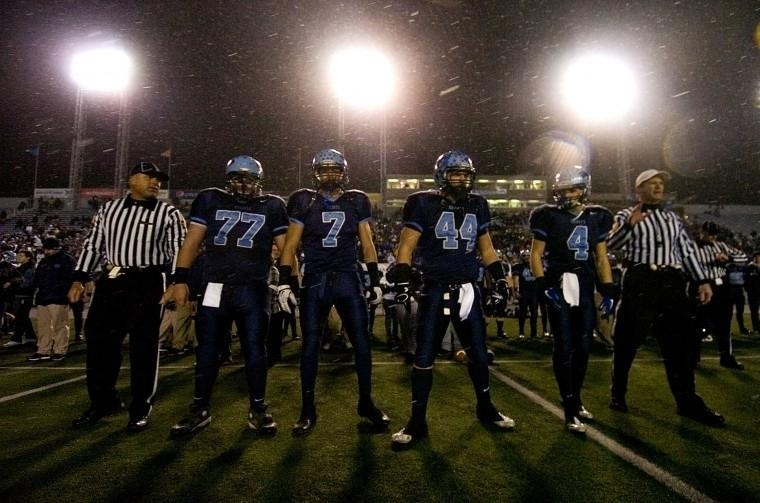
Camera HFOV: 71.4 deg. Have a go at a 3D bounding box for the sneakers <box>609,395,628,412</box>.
[{"bbox_3d":[3.066,1.954,6.817,0.144,0.213,0.233,5,-24,-5],"label":"sneakers"}]

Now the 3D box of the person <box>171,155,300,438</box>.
[{"bbox_3d":[-1.774,0.460,6.273,1.298,3.214,0.698,1,3,-10],"label":"person"}]

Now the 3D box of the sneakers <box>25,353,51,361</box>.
[{"bbox_3d":[-6.163,1.889,9.526,0.358,0.134,0.138,17,-23,-37],"label":"sneakers"}]

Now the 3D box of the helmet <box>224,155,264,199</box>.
[{"bbox_3d":[-1.711,-0.976,6.603,0.468,0.458,0.566,3,19,-10],"label":"helmet"}]

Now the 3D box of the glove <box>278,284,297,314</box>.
[{"bbox_3d":[-1.128,0.557,6.314,0.167,0.232,0.320,21,25,-28],"label":"glove"}]

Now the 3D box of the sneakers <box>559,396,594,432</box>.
[{"bbox_3d":[2.354,1.957,6.372,0.251,0.230,0.580,-2,-21,8],"label":"sneakers"}]

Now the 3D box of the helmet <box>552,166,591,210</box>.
[{"bbox_3d":[2.482,-0.850,6.851,0.455,0.483,0.595,2,23,42],"label":"helmet"}]

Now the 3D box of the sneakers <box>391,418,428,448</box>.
[{"bbox_3d":[0.322,2.025,5.948,0.196,0.206,0.526,-12,-22,37],"label":"sneakers"}]

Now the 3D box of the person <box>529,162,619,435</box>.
[{"bbox_3d":[2.339,0.475,6.623,0.882,3.084,0.824,-1,4,-44],"label":"person"}]

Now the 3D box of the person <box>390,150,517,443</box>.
[{"bbox_3d":[0.834,0.469,6.216,1.363,3.297,0.799,1,3,-4],"label":"person"}]

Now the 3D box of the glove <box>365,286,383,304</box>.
[{"bbox_3d":[-0.064,0.531,6.634,0.204,0.078,0.258,11,3,13],"label":"glove"}]

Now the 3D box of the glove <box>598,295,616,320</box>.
[{"bbox_3d":[2.832,0.680,6.657,0.213,0.309,0.083,1,0,-5],"label":"glove"}]

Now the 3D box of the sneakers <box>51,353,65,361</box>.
[{"bbox_3d":[-5.920,1.902,9.692,0.221,0.089,0.362,-1,4,-30],"label":"sneakers"}]

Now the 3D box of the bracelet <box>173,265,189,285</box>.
[{"bbox_3d":[-2.413,0.293,6.331,0.217,0.172,0.185,-1,-10,7],"label":"bracelet"}]

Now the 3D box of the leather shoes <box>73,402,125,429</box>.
[{"bbox_3d":[-3.432,1.969,6.454,0.186,0.217,0.561,-16,-9,42],"label":"leather shoes"}]

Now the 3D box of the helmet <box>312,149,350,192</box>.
[{"bbox_3d":[-0.601,-0.951,6.648,0.416,0.420,0.496,-2,-14,18],"label":"helmet"}]

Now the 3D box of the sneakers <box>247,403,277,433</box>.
[{"bbox_3d":[-1.378,1.921,6.152,0.296,0.315,0.151,4,4,37],"label":"sneakers"}]

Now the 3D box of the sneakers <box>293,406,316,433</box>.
[{"bbox_3d":[-0.893,1.972,6.239,0.153,0.246,0.390,-10,-24,15],"label":"sneakers"}]

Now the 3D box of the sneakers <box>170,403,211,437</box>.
[{"bbox_3d":[-2.208,1.955,6.118,0.213,0.222,0.532,-2,-16,19],"label":"sneakers"}]
